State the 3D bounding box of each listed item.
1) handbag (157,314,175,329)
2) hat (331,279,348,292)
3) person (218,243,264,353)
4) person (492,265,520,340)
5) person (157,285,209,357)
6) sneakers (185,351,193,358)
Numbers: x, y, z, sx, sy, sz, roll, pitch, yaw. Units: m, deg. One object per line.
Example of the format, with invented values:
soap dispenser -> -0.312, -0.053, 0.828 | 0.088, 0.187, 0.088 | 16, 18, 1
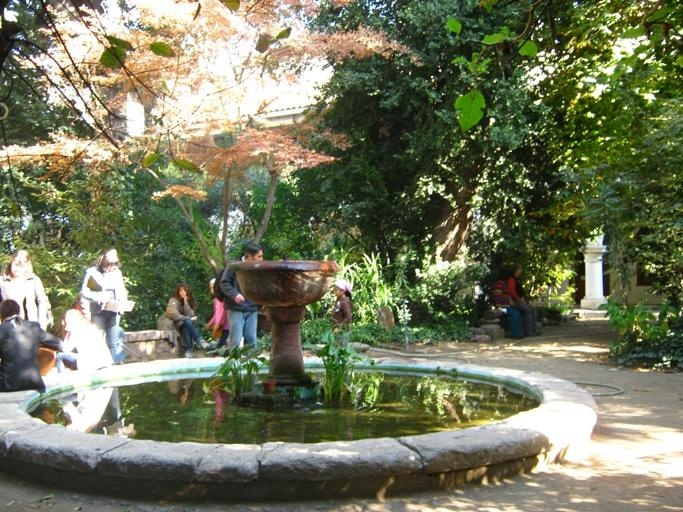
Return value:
handbag -> -3.234, 1.218, 10.456 | 0.312, 0.316, 0.193 | -1, -16, 8
hat -> 0.022, 0.500, 9.200 | 0.205, 0.183, 0.158 | 4, 19, -16
person -> -1.388, 0.594, 7.662 | 0.532, 1.487, 1.960 | 0, 0, -11
person -> 3.809, 1.216, 13.170 | 0.615, 1.280, 0.754 | 0, 1, -19
person -> -2.921, 1.179, 10.444 | 0.912, 1.317, 0.443 | 1, 1, 28
sneakers -> -2.698, 1.736, 9.993 | 0.110, 0.063, 0.166 | 2, 1, -16
